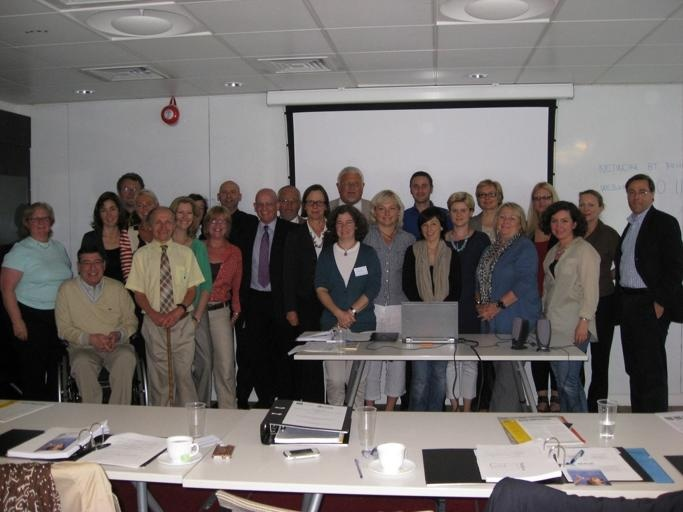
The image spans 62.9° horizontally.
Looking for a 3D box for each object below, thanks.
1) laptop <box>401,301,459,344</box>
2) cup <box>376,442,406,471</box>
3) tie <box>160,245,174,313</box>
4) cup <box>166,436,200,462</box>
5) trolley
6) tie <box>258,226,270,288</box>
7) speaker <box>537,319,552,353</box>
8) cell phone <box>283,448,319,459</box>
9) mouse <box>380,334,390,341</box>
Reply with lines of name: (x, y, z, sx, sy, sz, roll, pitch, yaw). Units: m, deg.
laptop: (0.656, 0.491, 4.128, 0.393, 0.308, 0.291, 1, 3, 5)
cup: (0.218, 0.878, 2.456, 0.094, 0.088, 0.119, -3, -7, 31)
tie: (-1.406, 0.175, 4.488, 0.103, 0.536, 0.059, -1, 2, -19)
cup: (-0.728, 0.877, 2.557, 0.118, 0.088, 0.098, 3, -1, 8)
trolley: (-1.841, 0.789, 4.599, 0.556, 0.820, 1.061, 0, 15, -12)
tie: (-0.707, 0.000, 5.078, 0.105, 0.562, 0.060, 0, 2, -6)
speaker: (1.422, 0.547, 3.928, 0.112, 0.212, 0.076, 0, 2, -3)
cell phone: (-0.188, 0.909, 2.594, 0.103, 0.026, 0.063, 0, 1, -4)
mouse: (0.348, 0.619, 4.292, 0.053, 0.040, 0.035, 0, -40, 11)
